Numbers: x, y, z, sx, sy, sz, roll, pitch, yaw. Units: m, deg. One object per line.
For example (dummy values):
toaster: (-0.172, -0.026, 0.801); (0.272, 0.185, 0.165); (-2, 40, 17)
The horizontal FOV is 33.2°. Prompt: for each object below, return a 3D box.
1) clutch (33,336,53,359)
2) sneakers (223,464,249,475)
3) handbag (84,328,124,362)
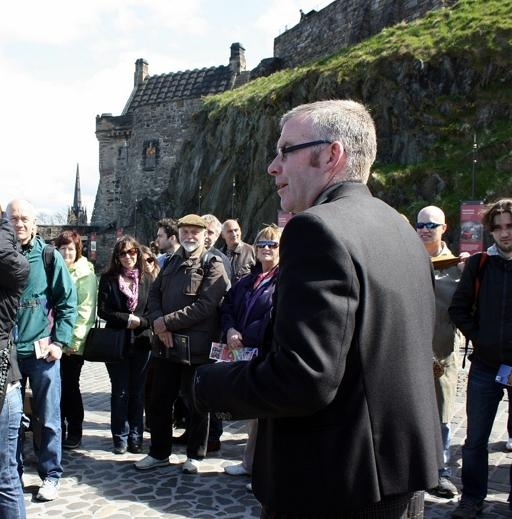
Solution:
clutch: (-1.598, 0.675, 6.432); (0.064, 0.162, 0.150); (6, 9, 40)
sneakers: (-0.170, 1.700, 6.944); (0.155, 0.058, 0.087); (6, 9, -5)
handbag: (-1.317, 0.743, 7.415); (0.274, 0.235, 0.103); (3, -22, 8)
